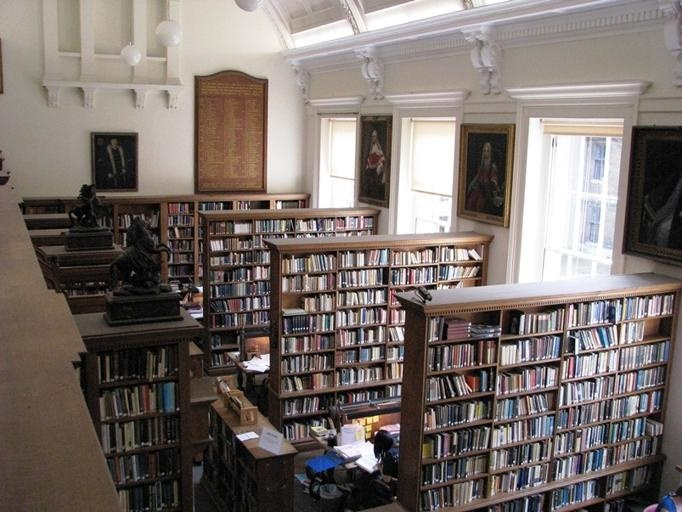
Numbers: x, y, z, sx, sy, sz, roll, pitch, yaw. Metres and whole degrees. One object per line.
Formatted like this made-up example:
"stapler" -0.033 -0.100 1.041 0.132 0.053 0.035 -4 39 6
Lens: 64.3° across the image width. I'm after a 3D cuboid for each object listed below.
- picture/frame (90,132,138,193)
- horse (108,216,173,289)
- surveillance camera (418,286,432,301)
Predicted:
"picture/frame" -4.964 -2.119 12.176 0.980 1.307 0.063 5 19 19
"horse" -1.884 -0.026 4.989 0.414 0.648 0.310 -5 10 -18
"surveillance camera" 0.861 0.380 5.690 0.076 0.102 0.286 -12 12 -12
